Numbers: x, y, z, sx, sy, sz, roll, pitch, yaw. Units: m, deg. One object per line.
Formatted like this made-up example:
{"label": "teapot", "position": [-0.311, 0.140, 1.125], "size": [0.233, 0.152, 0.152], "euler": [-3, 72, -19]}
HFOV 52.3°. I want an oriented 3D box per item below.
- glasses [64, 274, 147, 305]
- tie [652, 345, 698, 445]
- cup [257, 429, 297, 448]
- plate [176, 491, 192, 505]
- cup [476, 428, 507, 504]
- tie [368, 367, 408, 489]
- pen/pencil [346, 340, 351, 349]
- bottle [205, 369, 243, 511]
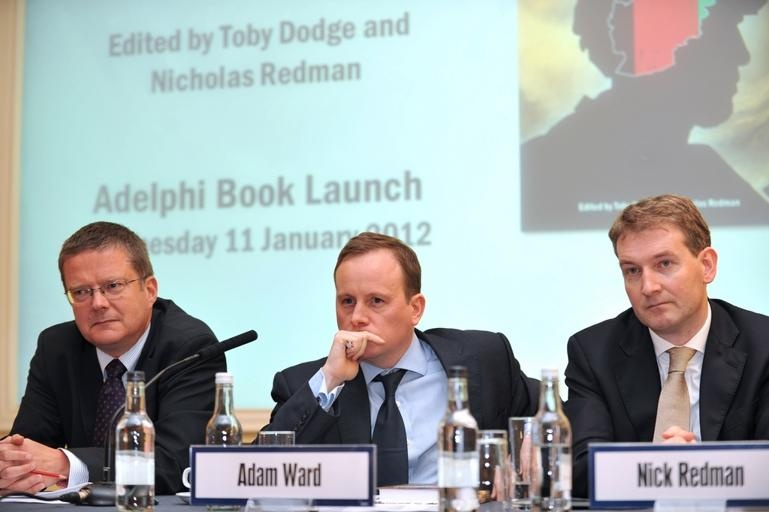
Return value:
{"label": "glasses", "position": [-1.358, 0.165, 3.801], "size": [0.366, 0.138, 0.086], "euler": [1, -11, -10]}
{"label": "tie", "position": [1.284, 0.599, 3.440], "size": [0.223, 0.400, 0.154], "euler": [-3, -11, 9]}
{"label": "cup", "position": [-0.382, 0.643, 2.759], "size": [0.124, 0.054, 0.290], "euler": [0, -13, -8]}
{"label": "plate", "position": [-0.746, 0.899, 2.913], "size": [0.072, 0.031, 0.082], "euler": [2, 0, 5]}
{"label": "cup", "position": [0.381, 0.743, 2.747], "size": [0.103, 0.249, 0.213], "euler": [-3, -11, 6]}
{"label": "tie", "position": [0.023, 0.746, 3.458], "size": [0.156, 0.500, 0.226], "euler": [-2, -11, 1]}
{"label": "pen/pencil", "position": [-0.150, 0.377, 3.340], "size": [0.028, 0.031, 0.018], "euler": [15, 22, 6]}
{"label": "bottle", "position": [-0.582, 0.557, 2.840], "size": [0.122, 0.256, 0.305], "euler": [1, -12, -13]}
